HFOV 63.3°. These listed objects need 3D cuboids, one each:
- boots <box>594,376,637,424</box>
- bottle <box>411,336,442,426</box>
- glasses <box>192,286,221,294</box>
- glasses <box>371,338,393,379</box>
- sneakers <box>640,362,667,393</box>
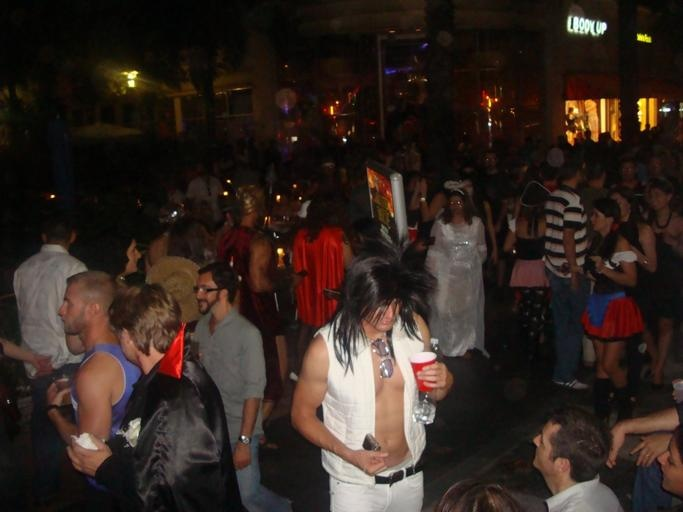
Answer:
[{"bbox_3d":[2.987,1.552,6.033,0.363,0.560,0.687,-2,1,35],"label":"boots"},{"bbox_3d":[0.552,0.829,3.613,0.168,0.532,0.402,-2,1,9],"label":"bottle"},{"bbox_3d":[-1.125,0.269,4.587,0.227,0.044,0.078,-3,1,28],"label":"glasses"},{"bbox_3d":[0.265,0.646,3.555,0.147,0.245,0.061,-3,-2,-25],"label":"glasses"},{"bbox_3d":[3.924,1.512,6.967,0.198,0.272,0.660,-8,-1,30],"label":"sneakers"}]
